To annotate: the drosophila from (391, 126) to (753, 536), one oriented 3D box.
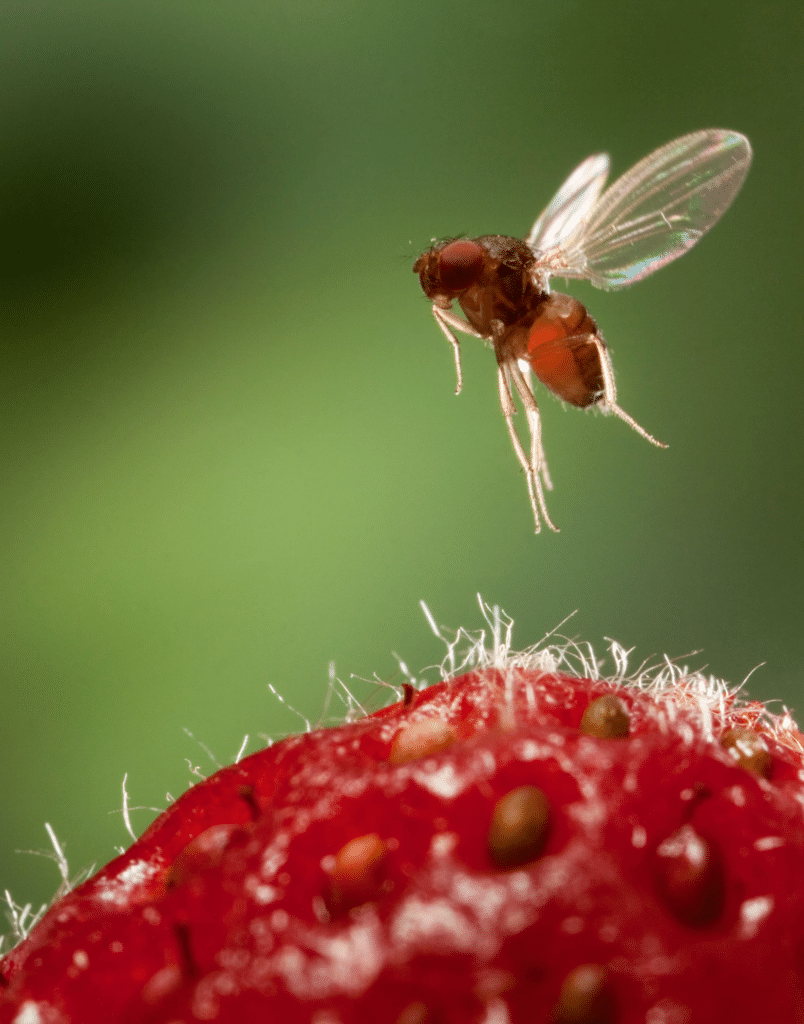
[{"bbox_3d":[0.106,-0.142,0.685,0.177,0.251,0.127,18,-80,-15],"label":"drosophila"}]
